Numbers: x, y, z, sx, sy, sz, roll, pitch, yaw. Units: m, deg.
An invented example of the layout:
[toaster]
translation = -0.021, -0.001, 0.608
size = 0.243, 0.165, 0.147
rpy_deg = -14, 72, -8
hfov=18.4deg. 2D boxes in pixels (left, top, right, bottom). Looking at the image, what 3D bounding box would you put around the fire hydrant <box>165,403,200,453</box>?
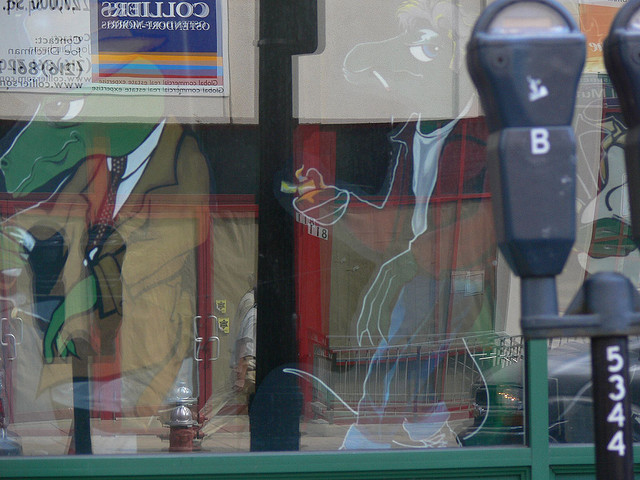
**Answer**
[fire hydrant]
translation = -0.752, 1.065, 10.996
size = 0.234, 0.288, 0.257
rpy_deg = 1, 11, 1
